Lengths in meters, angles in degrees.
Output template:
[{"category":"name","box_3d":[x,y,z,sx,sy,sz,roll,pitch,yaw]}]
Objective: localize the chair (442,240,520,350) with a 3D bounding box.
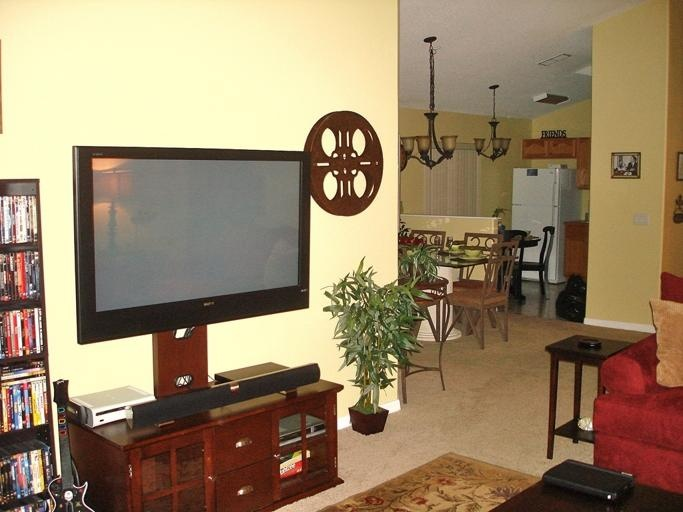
[{"category":"chair","box_3d":[1.705,0.343,6.486,0.722,1.170,2.273,1,8,17]}]

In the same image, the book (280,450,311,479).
[{"category":"book","box_3d":[-0.300,1.163,3.065,0.164,0.057,0.112,-19,2,-33]}]

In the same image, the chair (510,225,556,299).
[{"category":"chair","box_3d":[3.057,0.043,8.686,0.763,0.913,0.678,2,6,-3]}]

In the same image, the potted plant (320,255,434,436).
[{"category":"potted plant","box_3d":[0.214,0.633,3.881,0.735,1.268,0.643,-2,8,-3]}]

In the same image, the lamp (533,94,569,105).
[{"category":"lamp","box_3d":[3.297,-2.486,8.486,0.381,0.167,0.802,4,9,32]}]

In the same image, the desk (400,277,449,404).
[{"category":"desk","box_3d":[0.626,0.770,4.807,0.540,0.760,0.493,-17,4,13]}]

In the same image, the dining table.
[{"category":"dining table","box_3d":[1.317,0.492,6.020,0.744,0.646,0.921,4,8,31]}]

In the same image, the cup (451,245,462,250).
[{"category":"cup","box_3d":[1.411,-0.103,6.669,0.079,0.052,0.069,1,8,17]}]

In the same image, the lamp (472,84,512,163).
[{"category":"lamp","box_3d":[2.150,-1.870,7.650,0.578,0.947,0.547,-5,11,-20]}]

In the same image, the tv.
[{"category":"tv","box_3d":[-0.778,-0.095,2.930,0.133,0.921,1.446,7,9,40]}]

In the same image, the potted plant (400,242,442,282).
[{"category":"potted plant","box_3d":[0.655,0.062,4.613,0.374,0.253,0.359,2,-1,1]}]
